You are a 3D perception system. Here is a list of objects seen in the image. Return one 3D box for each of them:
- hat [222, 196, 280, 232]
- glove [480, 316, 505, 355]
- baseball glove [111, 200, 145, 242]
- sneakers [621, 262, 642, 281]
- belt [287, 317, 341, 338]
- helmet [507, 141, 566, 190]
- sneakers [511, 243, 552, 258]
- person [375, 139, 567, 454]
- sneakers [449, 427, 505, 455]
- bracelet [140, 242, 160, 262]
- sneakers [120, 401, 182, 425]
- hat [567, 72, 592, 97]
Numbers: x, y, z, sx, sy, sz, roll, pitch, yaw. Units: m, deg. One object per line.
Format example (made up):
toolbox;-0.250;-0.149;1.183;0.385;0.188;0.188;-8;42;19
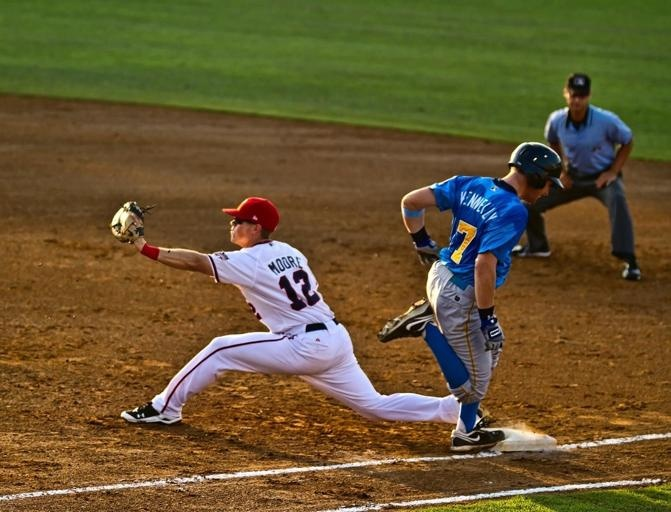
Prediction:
hat;-0.846;-0.439;14.180;0.543;0.245;0.329;14;9;-6
glove;1.516;0.780;13.878;0.275;0.305;0.145;-17;4;-24
baseball glove;-2.075;-0.318;14.104;0.319;0.434;0.362;-1;13;-7
sneakers;3.553;0.205;17.059;0.283;0.227;0.156;0;0;10
belt;-0.205;0.710;14.128;0.291;0.061;0.255;-13;-5;-45
helmet;1.936;-0.913;14.043;0.561;0.342;0.380;24;7;-6
sneakers;2.426;-0.054;17.585;0.408;0.143;0.129;7;23;7
person;1.358;0.417;14.103;1.533;3.057;0.824;3;14;8
sneakers;1.394;1.825;14.228;0.639;0.238;0.198;-8;14;-5
bracelet;-1.820;-0.032;13.944;0.203;0.144;0.156;35;4;15
sneakers;-1.887;1.597;14.443;0.676;0.233;0.218;5;-5;0
hat;2.860;-2.010;16.721;0.275;0.259;0.251;2;12;6
